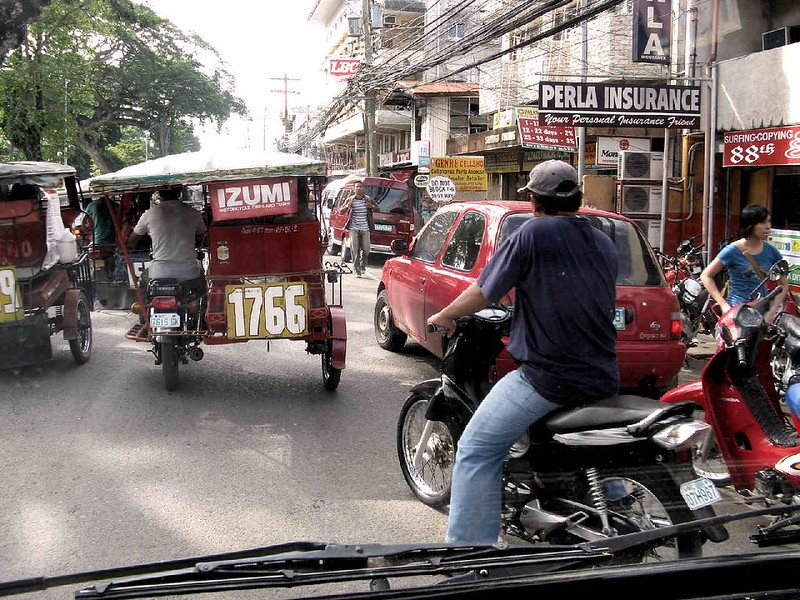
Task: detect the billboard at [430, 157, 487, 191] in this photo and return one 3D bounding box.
[{"bbox_3d":[1.857,-4.120,22.741,1.484,0.845,0.058,-2,-2,-26],"label":"billboard"}]

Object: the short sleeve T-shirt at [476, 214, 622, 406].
[{"bbox_3d":[0.838,0.034,3.634,0.988,0.918,0.518,-1,5,-32],"label":"short sleeve T-shirt"}]

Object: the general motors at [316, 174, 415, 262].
[{"bbox_3d":[-1.013,-2.646,21.549,2.224,2.089,3.842,1,13,-12],"label":"general motors"}]

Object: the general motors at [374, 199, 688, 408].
[{"bbox_3d":[1.096,-0.143,7.448,1.844,1.359,3.279,-2,15,-17],"label":"general motors"}]

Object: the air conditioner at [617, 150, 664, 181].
[{"bbox_3d":[5.308,-2.971,15.535,1.187,0.738,0.616,1,-2,-5],"label":"air conditioner"}]

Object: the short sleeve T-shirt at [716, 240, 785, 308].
[{"bbox_3d":[3.317,-0.261,6.622,0.614,0.582,0.318,-1,19,5],"label":"short sleeve T-shirt"}]

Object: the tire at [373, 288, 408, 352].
[{"bbox_3d":[-0.117,0.278,9.604,0.283,0.800,0.813,0,4,-23],"label":"tire"}]

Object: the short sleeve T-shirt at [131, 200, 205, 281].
[{"bbox_3d":[-2.576,-0.676,7.906,0.790,0.860,0.732,-3,14,-19],"label":"short sleeve T-shirt"}]

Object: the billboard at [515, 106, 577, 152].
[{"bbox_3d":[3.713,-4.209,17.153,1.321,0.922,0.055,0,14,-23],"label":"billboard"}]

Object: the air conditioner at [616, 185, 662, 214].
[{"bbox_3d":[5.302,-2.238,15.561,1.078,0.737,0.633,0,-1,-6],"label":"air conditioner"}]

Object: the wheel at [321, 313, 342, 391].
[{"bbox_3d":[-0.738,0.700,7.411,0.176,0.570,0.494,0,7,-6],"label":"wheel"}]

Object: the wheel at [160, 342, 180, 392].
[{"bbox_3d":[-2.431,0.687,7.405,0.194,0.537,0.201,1,7,0],"label":"wheel"}]

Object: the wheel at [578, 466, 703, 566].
[{"bbox_3d":[0.979,0.928,3.134,0.423,0.413,0.104,-12,-12,43],"label":"wheel"}]

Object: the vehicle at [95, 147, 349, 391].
[{"bbox_3d":[-1.832,-0.337,7.516,2.473,2.571,1.927,6,9,37],"label":"vehicle"}]
